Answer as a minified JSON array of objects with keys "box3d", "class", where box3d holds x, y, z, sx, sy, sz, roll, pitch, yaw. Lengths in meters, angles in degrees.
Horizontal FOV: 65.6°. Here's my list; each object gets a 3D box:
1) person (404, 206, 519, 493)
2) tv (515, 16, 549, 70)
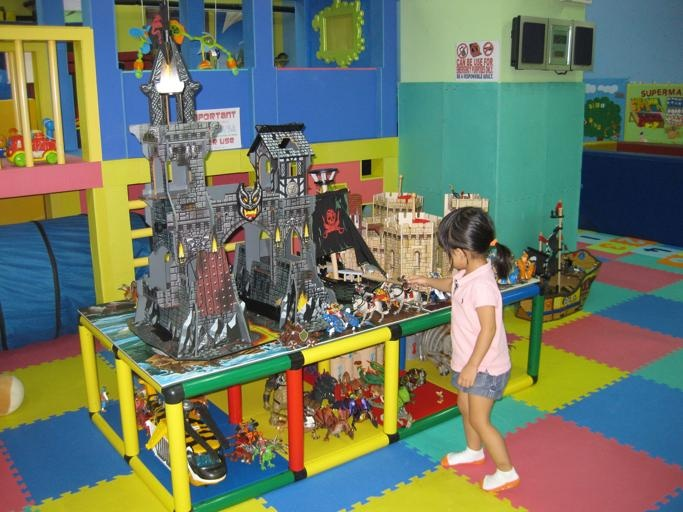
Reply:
[{"box3d":[0.741,0.472,3.038,0.550,1.539,0.779,1,13,8],"class":"person"},{"box3d":[1.619,-1.840,4.563,0.449,0.464,0.146,-9,15,-36],"class":"tv"}]
